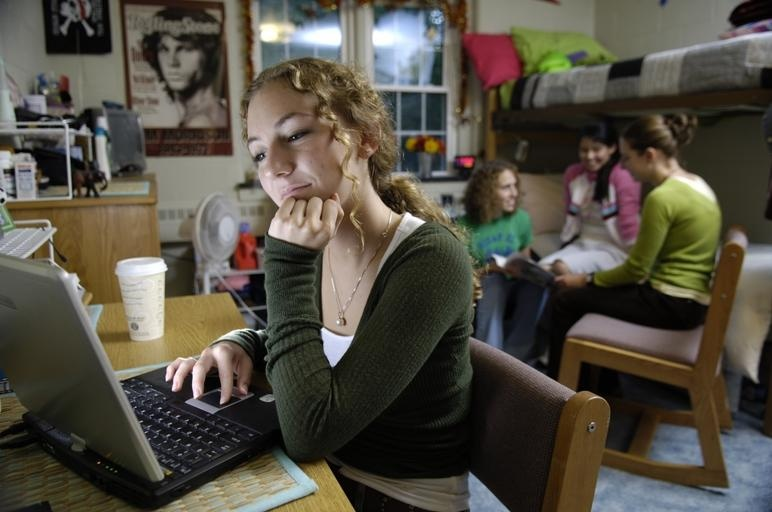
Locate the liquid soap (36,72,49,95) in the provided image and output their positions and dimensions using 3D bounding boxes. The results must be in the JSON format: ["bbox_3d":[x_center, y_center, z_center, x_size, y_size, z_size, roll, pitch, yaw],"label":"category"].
[{"bbox_3d":[-2.306,-1.157,4.041,0.098,0.151,0.291,-8,16,-29],"label":"liquid soap"}]

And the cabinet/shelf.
[{"bbox_3d":[-1.774,-0.332,3.602,0.613,0.838,0.884,-3,49,-28],"label":"cabinet/shelf"}]

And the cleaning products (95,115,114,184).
[{"bbox_3d":[-1.733,-0.667,3.738,0.077,0.367,0.083,8,17,35],"label":"cleaning products"}]

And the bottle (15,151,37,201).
[{"bbox_3d":[-1.818,-0.403,3.038,0.107,0.233,0.150,-8,16,-31],"label":"bottle"}]

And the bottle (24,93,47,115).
[{"bbox_3d":[-2.081,-0.908,3.571,0.110,0.107,0.288,-8,16,-29],"label":"bottle"}]

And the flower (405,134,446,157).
[{"bbox_3d":[0.376,-0.954,5.157,0.221,0.146,0.226,10,13,27],"label":"flower"}]

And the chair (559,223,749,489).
[{"bbox_3d":[1.386,0.423,3.608,1.191,1.687,1.064,3,6,28],"label":"chair"}]
